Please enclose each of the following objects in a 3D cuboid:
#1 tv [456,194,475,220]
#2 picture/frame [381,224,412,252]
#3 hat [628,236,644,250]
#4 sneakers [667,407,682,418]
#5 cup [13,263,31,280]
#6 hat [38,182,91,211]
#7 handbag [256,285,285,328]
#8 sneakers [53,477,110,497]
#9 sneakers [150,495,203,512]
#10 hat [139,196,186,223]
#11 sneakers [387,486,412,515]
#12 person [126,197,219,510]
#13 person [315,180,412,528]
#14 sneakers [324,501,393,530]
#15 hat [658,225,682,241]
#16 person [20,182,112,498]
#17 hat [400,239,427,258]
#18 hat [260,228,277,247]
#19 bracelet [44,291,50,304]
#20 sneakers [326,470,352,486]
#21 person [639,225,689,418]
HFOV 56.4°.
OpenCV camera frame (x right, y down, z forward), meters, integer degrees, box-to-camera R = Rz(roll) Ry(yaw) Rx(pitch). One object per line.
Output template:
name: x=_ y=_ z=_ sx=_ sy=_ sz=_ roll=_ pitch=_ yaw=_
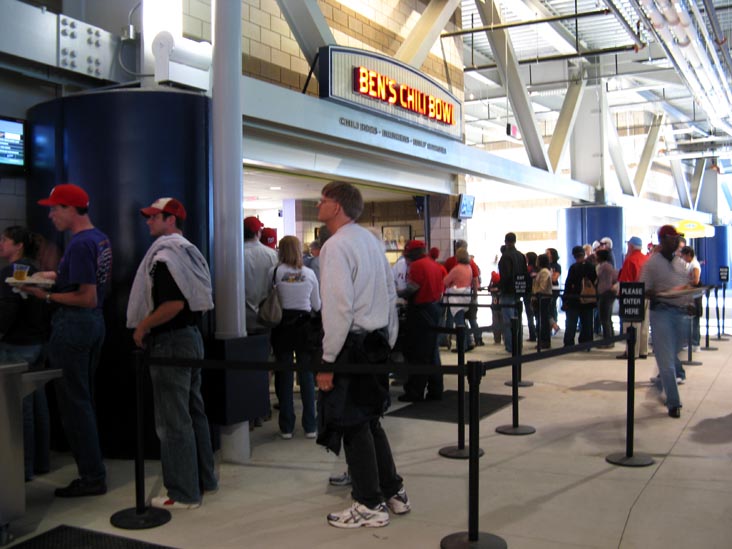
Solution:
tv: x=2.003 y=-1.395 z=13.902 sx=0.072 sy=0.440 sz=0.583 roll=6 pitch=6 yaw=28
picture/frame: x=0.595 y=-0.732 z=13.027 sx=0.600 sy=0.543 sz=0.208 roll=2 pitch=3 yaw=21
hat: x=4.535 y=-0.540 z=11.489 sx=0.164 sy=0.213 sz=0.240 roll=5 pitch=14 yaw=12
sneakers: x=3.288 y=1.444 z=7.288 sx=0.115 sy=0.102 sz=0.183 roll=2 pitch=8 yaw=23
cup: x=-2.681 y=-0.026 z=5.376 sx=0.143 sy=0.125 sz=0.146 roll=0 pitch=-8 yaw=0
hat: x=-2.442 y=-0.635 z=5.545 sx=0.346 sy=0.218 sz=0.248 roll=9 pitch=0 yaw=-16
handbag: x=-0.930 y=0.289 z=6.737 sx=0.200 sy=0.446 sz=0.396 roll=7 pitch=1 yaw=-15
sneakers: x=-2.240 y=1.686 z=5.467 sx=0.411 sy=0.178 sz=0.154 roll=6 pitch=-7 yaw=-9
sneakers: x=-1.447 y=1.701 z=5.242 sx=0.336 sy=0.149 sz=0.139 roll=7 pitch=-4 yaw=1
hat: x=-1.588 y=-0.511 z=5.357 sx=0.312 sy=0.176 sz=0.209 roll=6 pitch=0 yaw=-13
sneakers: x=0.253 y=1.687 z=5.132 sx=0.096 sy=0.118 sz=0.249 roll=0 pitch=0 yaw=-2
person: x=-1.477 y=0.598 z=5.220 sx=0.625 sy=2.335 sz=0.582 roll=-2 pitch=6 yaw=-16
person: x=-0.030 y=0.567 z=4.912 sx=0.682 sy=2.434 sz=0.596 roll=-3 pitch=6 yaw=-18
sneakers: x=-0.038 y=1.738 z=5.011 sx=0.434 sy=0.232 sz=0.179 roll=3 pitch=-10 yaw=1
hat: x=3.339 y=-0.462 z=7.512 sx=0.216 sy=0.120 sz=0.157 roll=-8 pitch=10 yaw=-39
person: x=-2.326 y=0.509 z=5.495 sx=0.586 sy=2.450 sz=0.487 roll=-3 pitch=7 yaw=-22
hat: x=0.609 y=-0.318 z=8.292 sx=0.196 sy=0.148 sz=0.278 roll=0 pitch=8 yaw=17
hat: x=-1.090 y=-0.433 z=7.743 sx=0.206 sy=0.223 sz=0.182 roll=-10 pitch=26 yaw=-43
bracelet: x=-2.463 y=0.171 z=5.318 sx=0.048 sy=0.083 sz=0.072 roll=5 pitch=2 yaw=-14
sneakers: x=-0.182 y=1.655 z=5.649 sx=0.278 sy=0.133 sz=0.124 roll=3 pitch=-7 yaw=-3
person: x=3.255 y=0.476 z=7.450 sx=0.483 sy=2.002 sz=0.612 roll=2 pitch=7 yaw=27
